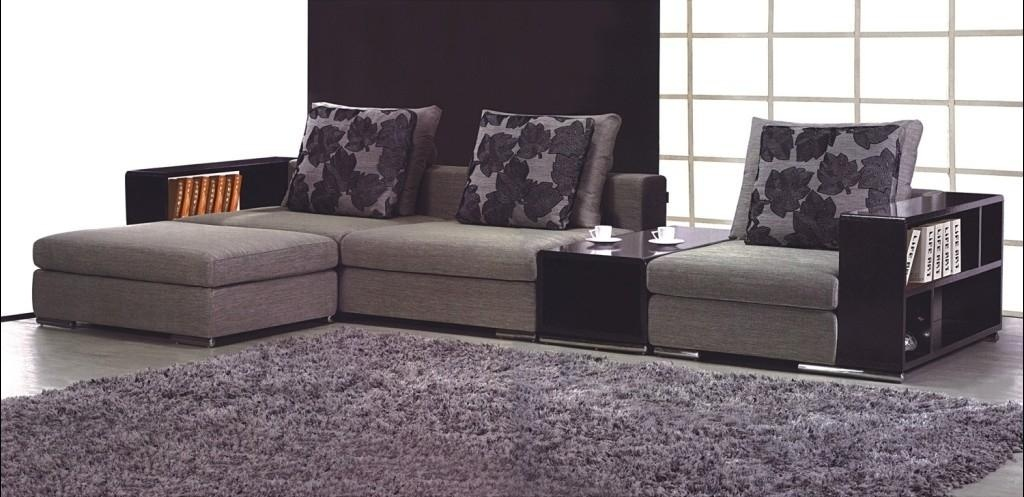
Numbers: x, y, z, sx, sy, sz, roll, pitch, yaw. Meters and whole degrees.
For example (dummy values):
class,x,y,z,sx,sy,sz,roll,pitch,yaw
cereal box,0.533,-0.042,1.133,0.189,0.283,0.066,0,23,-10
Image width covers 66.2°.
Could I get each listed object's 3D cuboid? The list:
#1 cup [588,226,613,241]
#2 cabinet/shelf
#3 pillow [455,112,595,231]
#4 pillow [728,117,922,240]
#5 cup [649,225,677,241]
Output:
class,x,y,z,sx,sy,sz,roll,pitch,yaw
cup,0.712,-0.116,6.379,0.194,0.101,0.124,0,4,-1
cabinet/shelf,2.897,0.236,5.646,1.596,0.902,0.544,-6,7,-44
pillow,0.143,-0.628,6.732,1.330,0.917,0.350,8,2,24
pillow,2.425,-0.515,6.011,1.352,0.812,0.557,4,10,24
cup,1.211,-0.116,6.312,0.215,0.104,0.118,-1,2,7
